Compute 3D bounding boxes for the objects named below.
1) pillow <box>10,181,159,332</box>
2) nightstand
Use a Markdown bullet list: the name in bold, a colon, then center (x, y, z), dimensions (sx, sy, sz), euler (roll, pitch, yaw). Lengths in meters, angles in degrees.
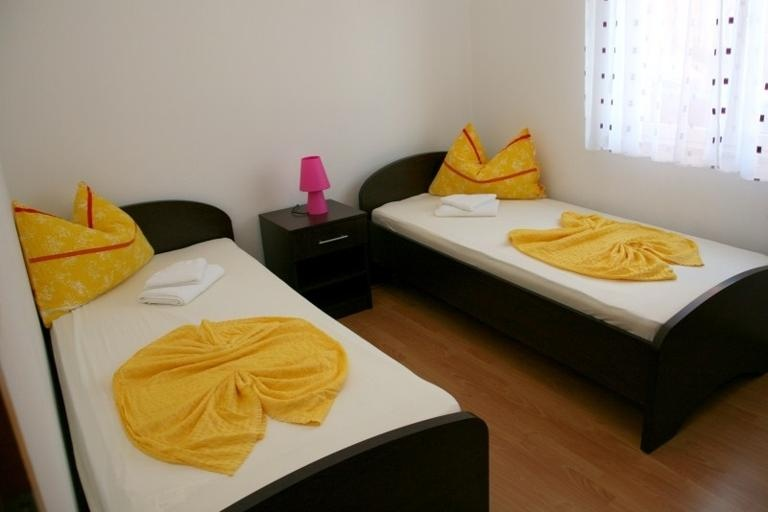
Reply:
- **pillow**: center (-1.643, 0.014, 2.828), dimensions (0.373, 0.485, 0.689), euler (15, 27, 19)
- **nightstand**: center (-0.463, 0.034, 3.514), dimensions (0.537, 0.728, 0.461), euler (-20, 33, -31)
